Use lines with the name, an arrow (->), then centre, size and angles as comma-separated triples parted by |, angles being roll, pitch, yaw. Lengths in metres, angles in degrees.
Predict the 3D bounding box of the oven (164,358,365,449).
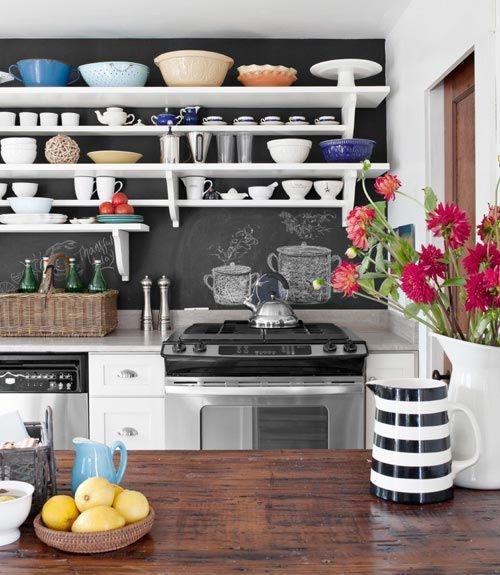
oven -> 0.040, 0.594, 2.611 | 0.886, 0.517, 0.542 | 1, -9, -7

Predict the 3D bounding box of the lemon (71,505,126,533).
lemon -> -0.227, 0.346, 0.859 | 0.064, 0.035, 0.035 | -5, 20, -12

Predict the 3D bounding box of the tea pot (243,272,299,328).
tea pot -> 0.104, 0.055, 2.799 | 0.273, 0.230, 0.220 | -1, 13, 5

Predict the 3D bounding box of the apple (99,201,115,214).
apple -> -0.718, -0.398, 2.903 | 0.071, 0.070, 0.058 | -2, 6, -6

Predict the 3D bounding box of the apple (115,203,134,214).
apple -> -0.631, -0.395, 2.926 | 0.108, 0.057, 0.076 | -5, 7, -33

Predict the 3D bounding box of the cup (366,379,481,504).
cup -> 0.328, 0.274, 1.067 | 0.203, 0.161, 0.120 | 3, -4, 7

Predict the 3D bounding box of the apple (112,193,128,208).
apple -> -0.654, -0.441, 2.946 | 0.087, 0.071, 0.077 | 3, 8, 0

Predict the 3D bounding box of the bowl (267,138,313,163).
bowl -> 0.197, -0.690, 2.900 | 0.226, 0.095, 0.205 | 0, -4, 0

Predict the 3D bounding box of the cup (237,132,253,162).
cup -> -0.036, -0.696, 2.914 | 0.093, 0.151, 0.075 | 0, 7, 16

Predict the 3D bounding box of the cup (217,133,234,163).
cup -> -0.123, -0.695, 2.917 | 0.086, 0.149, 0.104 | -2, 6, -5

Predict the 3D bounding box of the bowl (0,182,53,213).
bowl -> -1.103, -0.443, 2.869 | 0.178, 0.128, 0.200 | -1, 0, 13

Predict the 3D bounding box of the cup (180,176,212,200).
cup -> -0.287, -0.515, 3.053 | 0.218, 0.122, 0.127 | 0, -2, 1
